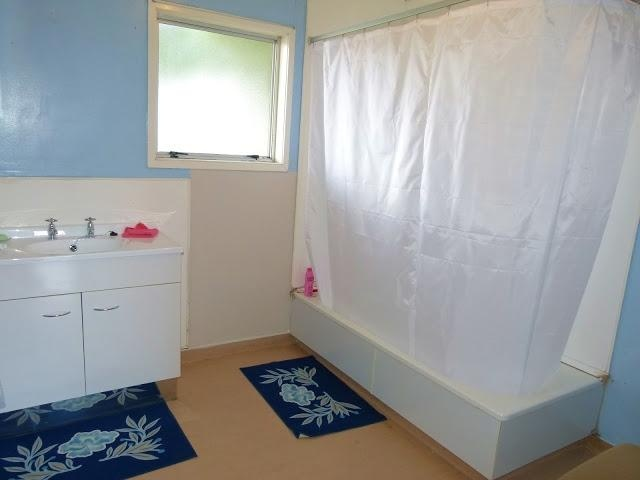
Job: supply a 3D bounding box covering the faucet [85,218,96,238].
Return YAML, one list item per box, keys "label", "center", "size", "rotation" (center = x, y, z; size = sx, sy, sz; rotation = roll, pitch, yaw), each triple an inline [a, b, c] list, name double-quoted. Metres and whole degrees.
- label: "faucet"
  center: [-1.466, -0.084, 2.847]
  size: [0.060, 0.122, 0.127]
  rotation: [-8, 16, -26]
